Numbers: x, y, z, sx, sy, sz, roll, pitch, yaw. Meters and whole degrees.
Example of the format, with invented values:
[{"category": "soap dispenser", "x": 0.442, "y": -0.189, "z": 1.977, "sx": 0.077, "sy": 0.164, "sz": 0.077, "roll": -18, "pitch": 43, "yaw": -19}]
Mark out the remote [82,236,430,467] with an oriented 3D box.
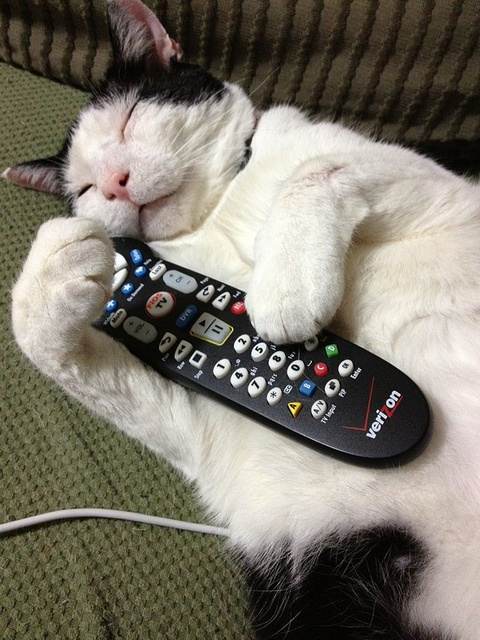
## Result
[{"category": "remote", "x": -0.013, "y": 0.026, "z": 0.595, "sx": 0.415, "sy": 0.075, "sz": 0.108, "roll": 30, "pitch": 48, "yaw": 23}]
